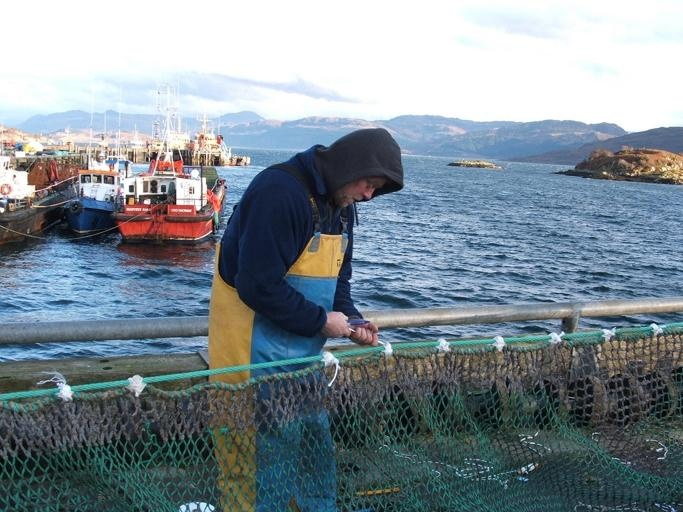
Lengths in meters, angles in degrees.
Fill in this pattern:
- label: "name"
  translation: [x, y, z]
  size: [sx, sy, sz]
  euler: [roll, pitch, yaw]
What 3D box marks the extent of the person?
- label: "person"
  translation: [-0.179, 0.318, 2.888]
  size: [0.827, 1.770, 0.455]
  euler: [0, -3, -12]
